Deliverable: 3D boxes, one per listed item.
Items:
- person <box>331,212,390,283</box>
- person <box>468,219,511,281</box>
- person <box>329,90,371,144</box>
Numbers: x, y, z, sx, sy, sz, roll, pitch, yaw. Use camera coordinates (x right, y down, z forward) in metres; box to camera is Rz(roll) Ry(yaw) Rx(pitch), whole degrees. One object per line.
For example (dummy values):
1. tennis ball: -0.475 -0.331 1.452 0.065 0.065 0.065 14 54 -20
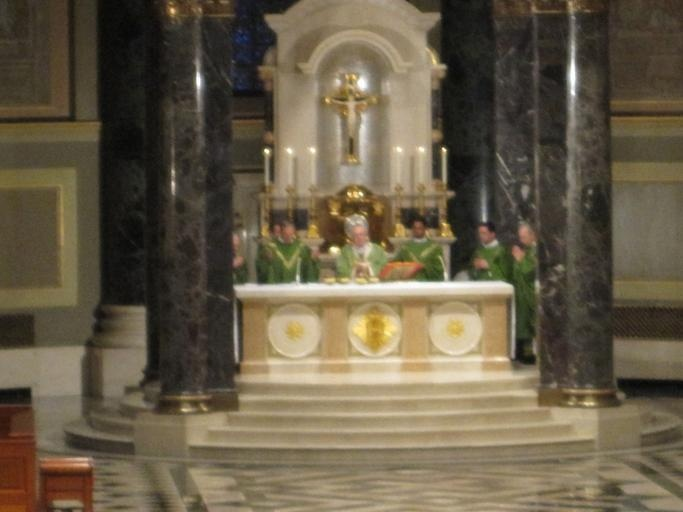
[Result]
1. person: 0.214 -0.085 20.280 0.588 0.828 1.035 -1 -5 1
2. person: 1.779 -0.050 21.353 0.496 0.748 1.132 -1 -5 4
3. person: 0.114 -1.932 23.022 0.691 0.973 0.253 -1 -5 0
